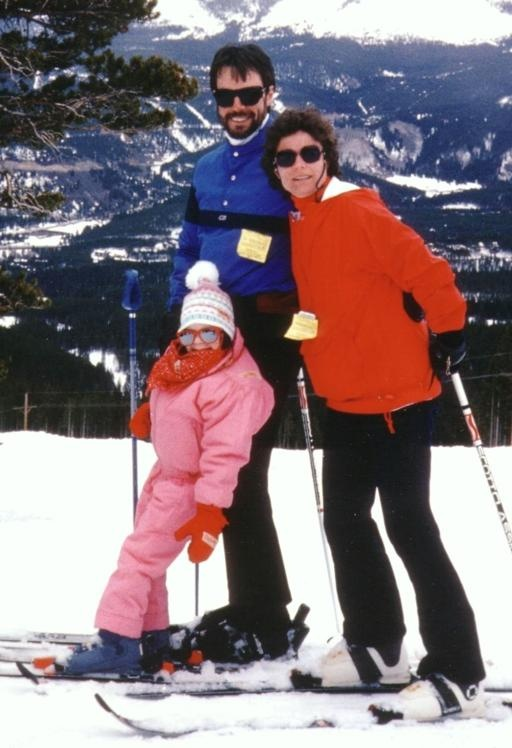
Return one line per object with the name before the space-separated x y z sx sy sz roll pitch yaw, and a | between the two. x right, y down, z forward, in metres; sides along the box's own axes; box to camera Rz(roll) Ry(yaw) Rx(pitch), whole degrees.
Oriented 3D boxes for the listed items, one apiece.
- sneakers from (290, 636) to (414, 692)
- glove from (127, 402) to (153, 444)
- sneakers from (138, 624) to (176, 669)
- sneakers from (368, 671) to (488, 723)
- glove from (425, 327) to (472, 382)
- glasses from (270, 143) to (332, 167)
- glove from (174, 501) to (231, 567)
sneakers | 0.334 1.028 3.502 0.521 0.197 0.163 1 -4 7
glove | -0.480 0.192 3.876 0.122 0.143 0.044 11 5 -34
sneakers | -0.372 1.006 3.625 0.171 0.199 0.110 2 -6 -22
sneakers | 0.584 1.101 3.302 0.420 0.160 0.143 1 -10 -4
glove | 0.703 -0.069 3.402 0.140 0.157 0.171 0 1 -22
glasses | 0.143 -0.777 3.444 0.105 0.034 0.103 -6 -10 11
glove | -0.191 0.573 3.444 0.177 0.208 0.058 20 -13 14
